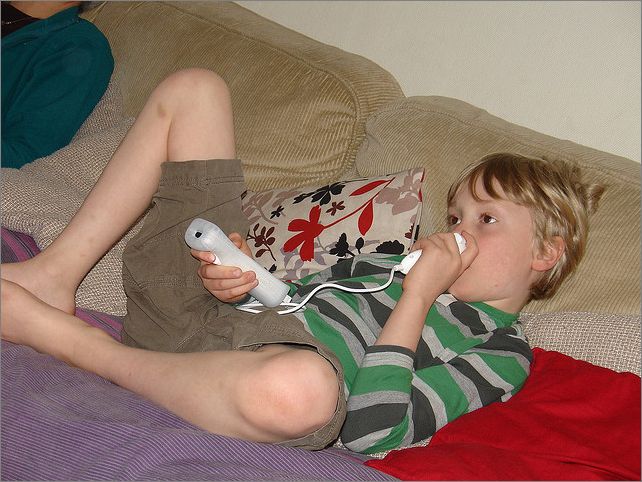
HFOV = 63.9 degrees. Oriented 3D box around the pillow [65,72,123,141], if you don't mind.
[{"bbox_3d":[-0.718,-0.427,1.743,0.066,0.261,0.167,36,-11,1],"label":"pillow"}]
